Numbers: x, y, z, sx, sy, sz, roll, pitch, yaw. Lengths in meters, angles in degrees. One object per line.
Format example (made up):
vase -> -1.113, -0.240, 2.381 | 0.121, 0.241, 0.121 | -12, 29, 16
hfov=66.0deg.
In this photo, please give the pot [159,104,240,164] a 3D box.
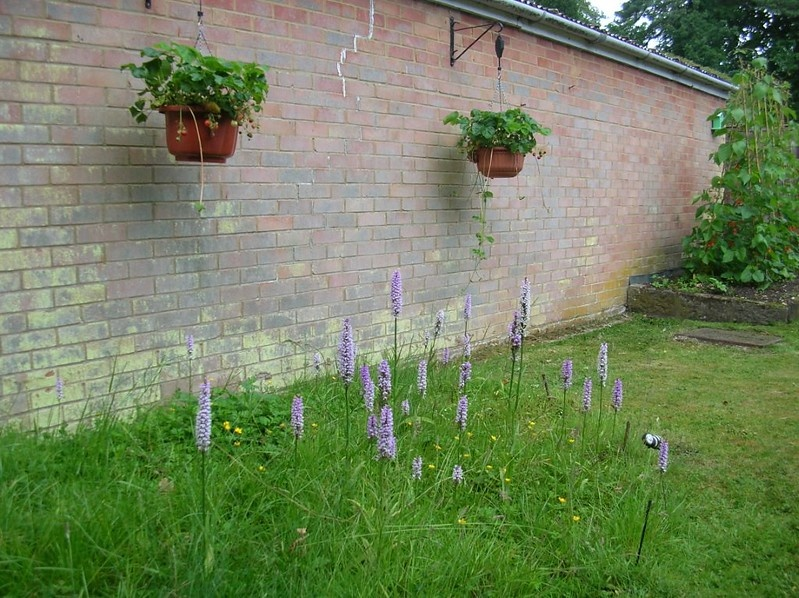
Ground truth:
pot -> -1.257, -1.023, 3.845 | 0.374, 0.261, 0.367 | 1, 4, 0
